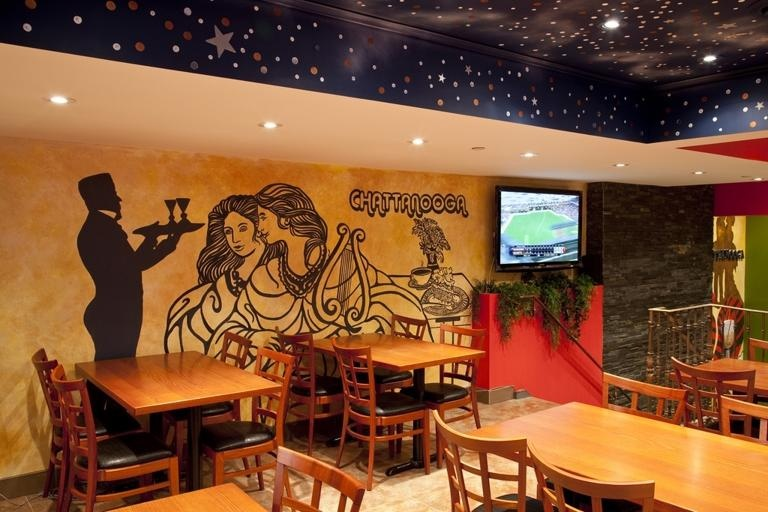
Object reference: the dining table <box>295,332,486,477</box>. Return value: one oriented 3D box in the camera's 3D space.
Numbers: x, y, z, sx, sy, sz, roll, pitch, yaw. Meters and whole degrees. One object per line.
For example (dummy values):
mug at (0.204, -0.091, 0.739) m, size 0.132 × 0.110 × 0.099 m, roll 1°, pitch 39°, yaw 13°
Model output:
dining table at (0.103, 1.548, 5.199) m, size 1.184 × 1.182 × 2.106 m, roll 0°, pitch 0°, yaw -40°

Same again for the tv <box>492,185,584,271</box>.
tv at (2.160, -0.408, 7.450) m, size 1.364 × 0.940 × 0.101 m, roll -1°, pitch 3°, yaw -25°
